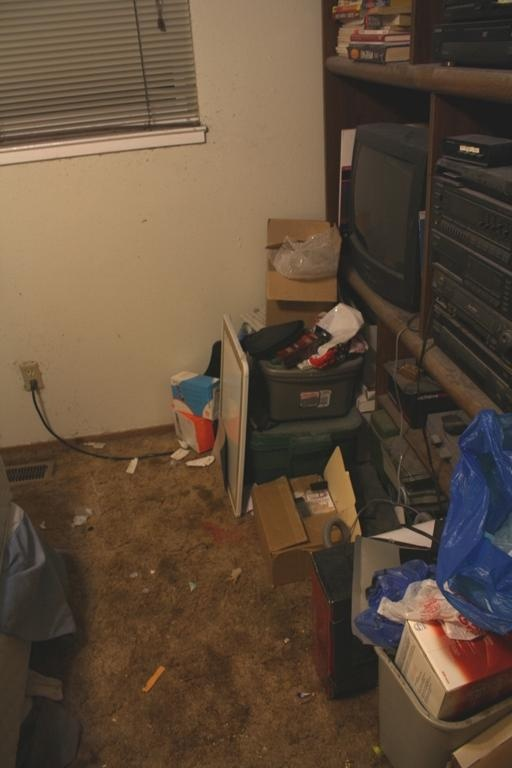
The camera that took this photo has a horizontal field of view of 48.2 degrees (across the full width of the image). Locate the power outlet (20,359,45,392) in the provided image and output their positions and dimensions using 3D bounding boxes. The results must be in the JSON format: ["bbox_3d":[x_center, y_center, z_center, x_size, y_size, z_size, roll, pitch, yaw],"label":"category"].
[{"bbox_3d":[-1.011,-0.039,2.574,0.078,0.128,0.031,-12,27,-13],"label":"power outlet"}]

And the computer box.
[{"bbox_3d":[0.237,0.649,1.516,0.151,0.460,0.222,-11,32,-13],"label":"computer box"}]
